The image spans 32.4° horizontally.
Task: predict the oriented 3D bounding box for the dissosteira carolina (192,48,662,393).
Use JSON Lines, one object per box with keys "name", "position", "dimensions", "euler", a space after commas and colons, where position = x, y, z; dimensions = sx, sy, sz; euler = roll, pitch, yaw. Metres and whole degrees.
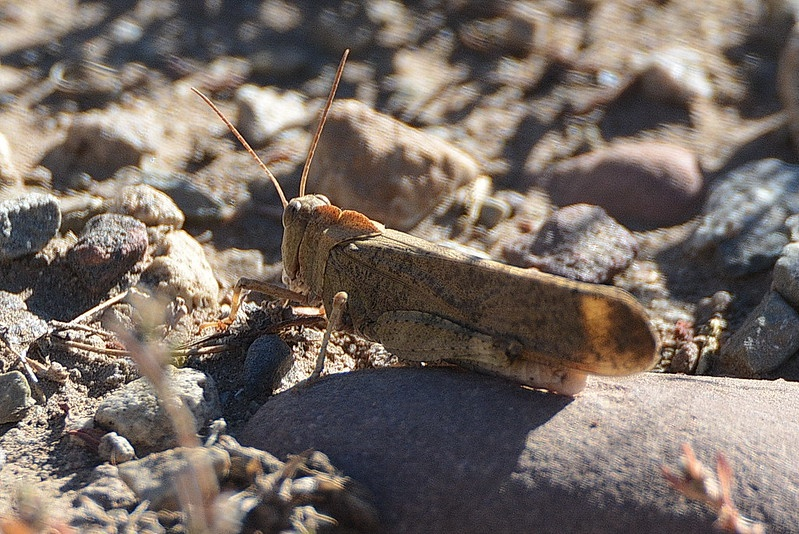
{"name": "dissosteira carolina", "position": [0.263, 0.167, 6.390], "dimensions": [2.279, 1.012, 1.278], "euler": [12, 102, 19]}
